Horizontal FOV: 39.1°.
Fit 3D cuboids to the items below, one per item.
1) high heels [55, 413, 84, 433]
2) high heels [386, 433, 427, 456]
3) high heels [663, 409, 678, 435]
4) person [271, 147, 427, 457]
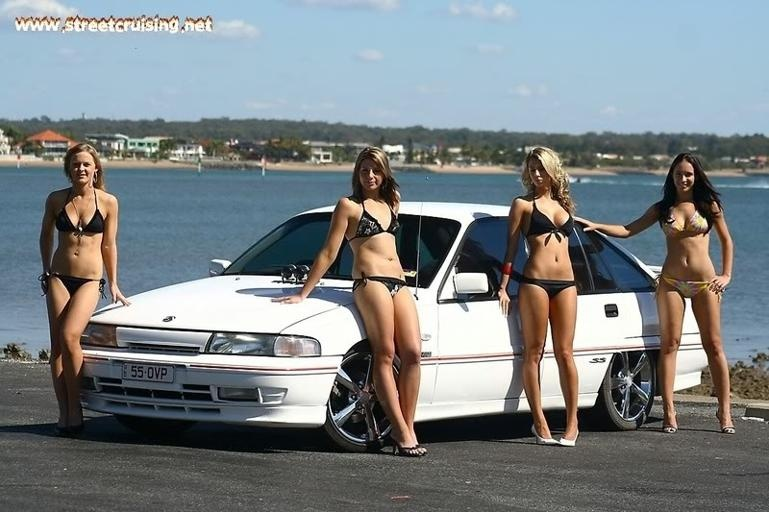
[{"bbox_3d":[-2.888,1.524,9.905,0.257,0.157,0.209,2,5,-1],"label":"high heels"},{"bbox_3d":[0.213,1.674,9.563,0.158,0.104,0.283,3,-6,-44],"label":"high heels"},{"bbox_3d":[2.897,1.682,10.990,0.167,0.222,0.559,-2,-9,9],"label":"high heels"},{"bbox_3d":[-0.100,0.375,9.706,1.106,2.689,0.630,3,5,8],"label":"person"}]
